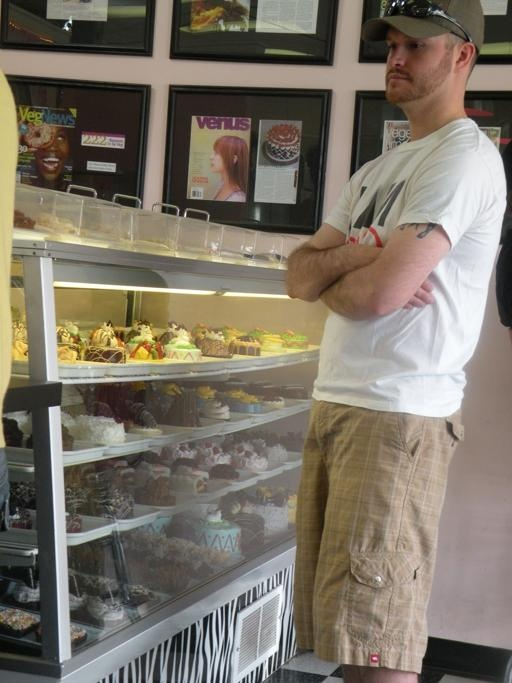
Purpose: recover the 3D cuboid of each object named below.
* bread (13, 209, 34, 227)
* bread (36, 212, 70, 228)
[{"bbox_3d":[-0.486,-0.258,1.246,0.039,0.040,0.063,0,11,-19],"label":"bread"},{"bbox_3d":[-0.450,-0.265,1.315,0.032,0.016,0.067,36,18,21],"label":"bread"}]
